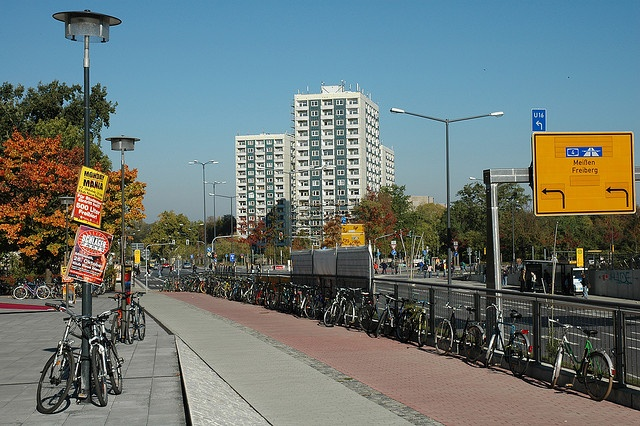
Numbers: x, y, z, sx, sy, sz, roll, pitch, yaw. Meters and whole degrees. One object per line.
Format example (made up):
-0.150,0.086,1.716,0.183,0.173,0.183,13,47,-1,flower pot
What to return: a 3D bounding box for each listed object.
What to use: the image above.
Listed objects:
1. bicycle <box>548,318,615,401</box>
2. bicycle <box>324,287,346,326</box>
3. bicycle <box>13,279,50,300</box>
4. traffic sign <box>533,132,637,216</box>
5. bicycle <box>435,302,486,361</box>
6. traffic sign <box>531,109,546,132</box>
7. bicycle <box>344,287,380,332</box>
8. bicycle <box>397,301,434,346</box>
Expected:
5.468,3.087,14.300,1.079,1.504,2.473,8,-7,-13,bicycle
0.504,3.284,23.496,0.707,1.057,0.632,0,0,0,bicycle
-16.578,4.397,38.631,1.982,1.179,0.996,0,-4,-19,bicycle
6.417,-0.900,16.228,2.189,1.860,0.176,-1,-2,1,traffic sign
3.641,3.068,17.458,0.933,1.366,2.208,12,-6,-23,bicycle
5.496,-2.299,16.828,0.309,0.565,0.363,0,-1,9,traffic sign
1.422,3.136,22.241,0.762,1.153,1.988,-8,-15,8,bicycle
2.687,3.077,19.283,0.897,1.220,1.983,8,-3,-16,bicycle
